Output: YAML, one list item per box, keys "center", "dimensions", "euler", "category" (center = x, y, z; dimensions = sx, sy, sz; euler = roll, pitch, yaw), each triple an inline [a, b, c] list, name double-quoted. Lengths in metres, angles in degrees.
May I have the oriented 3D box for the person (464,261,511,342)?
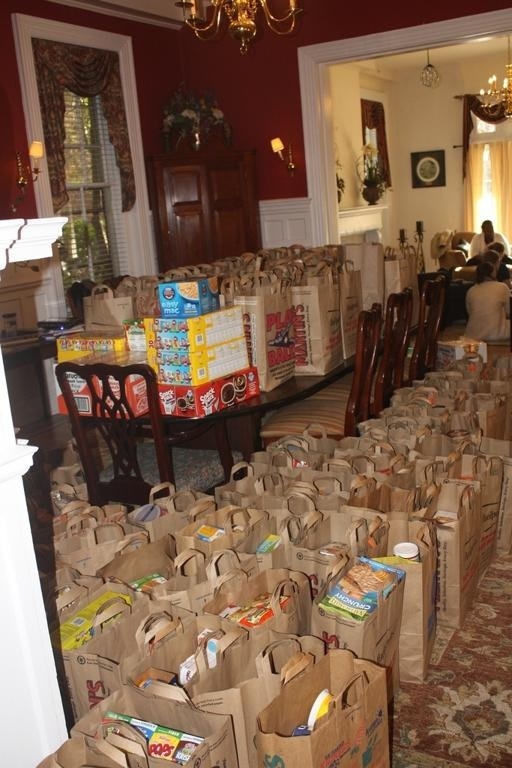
- center: [2.864, -0.995, 6.592]
  dimensions: [0.502, 0.995, 0.416]
  euler: [1, 9, 22]
  category: "person"

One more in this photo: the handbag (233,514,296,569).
- center: [0.035, 0.415, 1.439]
  dimensions: [0.092, 0.170, 0.166]
  euler: [3, 13, 27]
  category: "handbag"

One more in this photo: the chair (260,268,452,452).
- center: [0.497, -0.120, 2.783]
  dimensions: [0.525, 1.003, 0.565]
  euler: [19, 45, 33]
  category: "chair"

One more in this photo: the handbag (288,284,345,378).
- center: [0.307, -0.278, 2.799]
  dimensions: [0.161, 0.483, 0.338]
  euler: [2, 25, 29]
  category: "handbag"

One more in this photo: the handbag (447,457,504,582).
- center: [0.704, 0.428, 1.721]
  dimensions: [0.145, 0.416, 0.279]
  euler: [10, 28, 34]
  category: "handbag"

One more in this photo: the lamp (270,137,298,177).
- center: [0.271, -2.705, 6.301]
  dimensions: [0.330, 0.444, 0.273]
  euler: [2, 9, 31]
  category: "lamp"

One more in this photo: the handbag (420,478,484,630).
- center: [0.570, 0.491, 1.560]
  dimensions: [0.113, 0.325, 0.337]
  euler: [5, 24, 24]
  category: "handbag"

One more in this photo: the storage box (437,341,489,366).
- center: [1.404, -0.228, 3.667]
  dimensions: [0.270, 0.181, 0.289]
  euler: [6, 15, 29]
  category: "storage box"

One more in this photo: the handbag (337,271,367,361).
- center: [0.522, -0.361, 2.938]
  dimensions: [0.153, 0.497, 0.331]
  euler: [2, 32, 20]
  category: "handbag"

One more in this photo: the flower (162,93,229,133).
- center: [-0.734, -3.123, 6.206]
  dimensions: [0.574, 0.449, 0.599]
  euler: [1, 33, 0]
  category: "flower"

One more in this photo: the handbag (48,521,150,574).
- center: [-0.470, 0.446, 1.484]
  dimensions: [0.088, 0.150, 0.142]
  euler: [-34, -8, 2]
  category: "handbag"

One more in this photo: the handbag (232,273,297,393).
- center: [0.038, -0.231, 2.558]
  dimensions: [0.206, 0.589, 0.409]
  euler: [3, 22, 28]
  category: "handbag"

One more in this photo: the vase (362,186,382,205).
- center: [2.142, -3.434, 9.798]
  dimensions: [0.304, 0.351, 0.356]
  euler: [0, 16, 5]
  category: "vase"
